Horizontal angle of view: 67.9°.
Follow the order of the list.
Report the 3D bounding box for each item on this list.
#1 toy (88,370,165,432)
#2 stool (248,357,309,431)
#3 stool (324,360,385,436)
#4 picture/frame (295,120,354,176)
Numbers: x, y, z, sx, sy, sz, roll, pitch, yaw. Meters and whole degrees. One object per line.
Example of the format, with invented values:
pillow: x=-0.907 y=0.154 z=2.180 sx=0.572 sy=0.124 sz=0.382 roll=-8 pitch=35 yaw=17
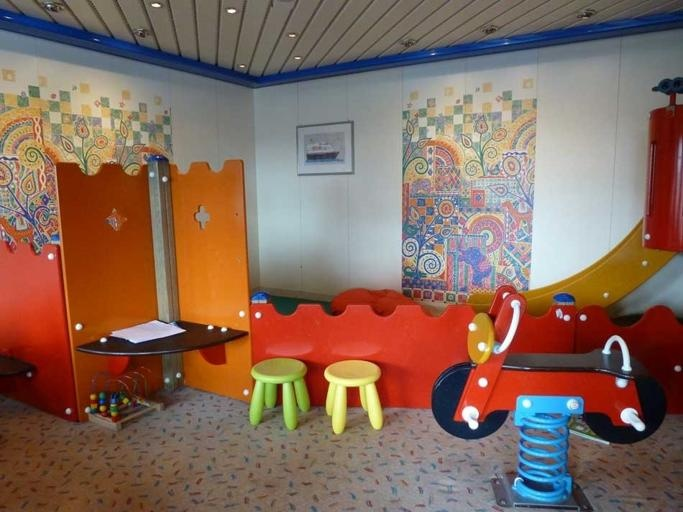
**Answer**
toy: x=-1.653 y=1.063 z=3.819 sx=0.331 sy=0.352 sz=0.434 roll=-3 pitch=0 yaw=23
stool: x=-0.452 y=0.989 z=3.679 sx=0.393 sy=0.427 sz=0.391 roll=3 pitch=13 yaw=16
stool: x=0.066 y=0.978 z=3.632 sx=0.460 sy=0.486 sz=0.440 roll=-4 pitch=7 yaw=-17
picture/frame: x=-0.179 y=-1.295 z=6.058 sx=0.668 sy=0.524 sz=0.028 roll=3 pitch=8 yaw=29
